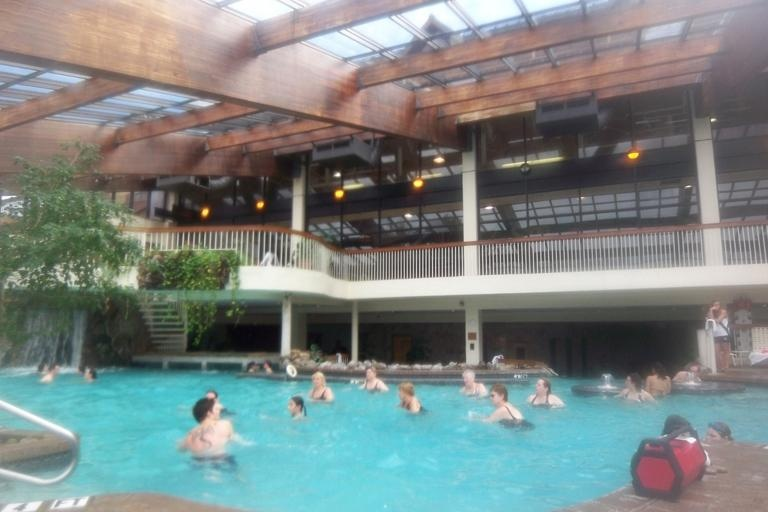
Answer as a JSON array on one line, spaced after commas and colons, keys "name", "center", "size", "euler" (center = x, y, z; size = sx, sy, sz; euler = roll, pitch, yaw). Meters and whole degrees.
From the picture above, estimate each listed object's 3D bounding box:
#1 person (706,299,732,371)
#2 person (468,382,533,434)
[{"name": "person", "center": [8.668, 2.038, 13.510], "size": [1.057, 1.751, 0.424], "euler": [-1, 1, -29]}, {"name": "person", "center": [2.342, 2.926, 10.116], "size": [1.184, 0.759, 0.575], "euler": [1, -8, 36]}]
